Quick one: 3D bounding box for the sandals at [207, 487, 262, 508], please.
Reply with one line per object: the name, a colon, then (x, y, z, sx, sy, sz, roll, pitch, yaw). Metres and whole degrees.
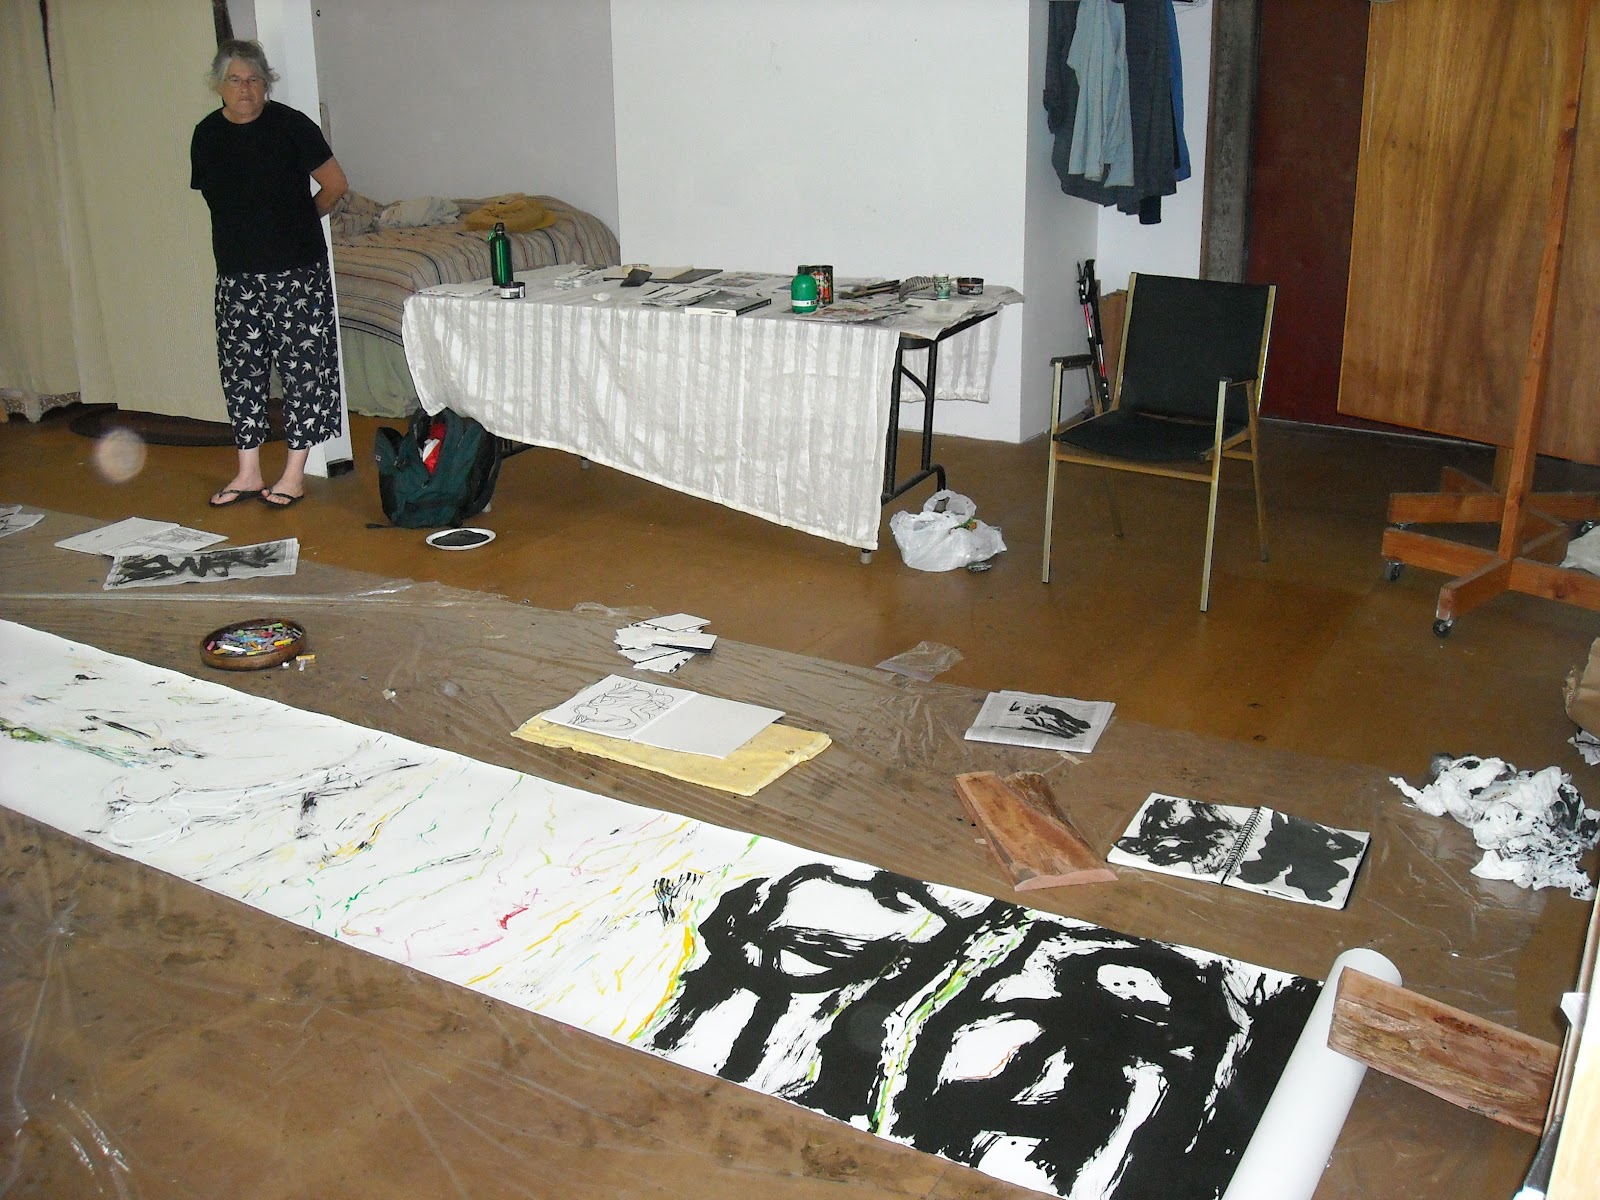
sandals: (-2.476, -0.461, 4.978, 0.172, 0.037, 0.091, -5, 17, -19)

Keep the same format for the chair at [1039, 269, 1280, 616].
chair: (1.301, -0.625, 4.083, 0.682, 0.871, 0.698, 10, 32, 32)

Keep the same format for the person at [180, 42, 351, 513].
person: (-2.253, -1.365, 4.818, 0.750, 1.844, 0.452, -11, 24, -17)

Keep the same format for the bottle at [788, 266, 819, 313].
bottle: (0.020, -1.177, 4.272, 0.113, 0.143, 0.253, -4, 23, 0)
